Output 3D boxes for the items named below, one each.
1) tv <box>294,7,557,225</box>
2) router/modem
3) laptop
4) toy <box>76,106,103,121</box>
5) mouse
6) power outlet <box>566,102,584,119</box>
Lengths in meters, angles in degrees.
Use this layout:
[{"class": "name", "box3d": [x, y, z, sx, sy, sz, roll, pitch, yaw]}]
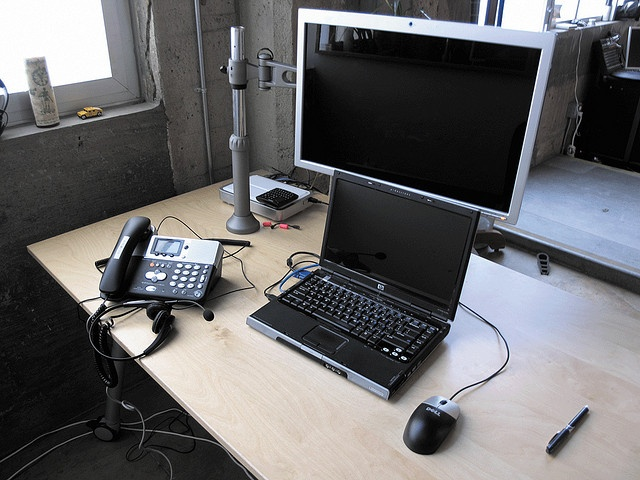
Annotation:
[{"class": "tv", "box3d": [0.257, -0.361, 1.126, 0.794, 0.580, 0.089, 20, 36, 27]}, {"class": "router/modem", "box3d": [-0.164, -0.155, 1.633, 0.294, 0.070, 0.189, 26, 43, 35]}, {"class": "laptop", "box3d": [0.106, 0.077, 1.134, 0.476, 0.323, 0.431, 15, 33, 28]}, {"class": "toy", "box3d": [-0.860, -0.474, 1.657, 0.088, 0.031, 0.070, -17, 34, -27]}, {"class": "mouse", "box3d": [0.236, 0.387, 0.937, 0.076, 0.053, 0.140, 23, 37, 35]}, {"class": "power outlet", "box3d": [1.424, -0.724, 2.485, 0.077, 0.073, 0.019, 12, 19, 25]}]
